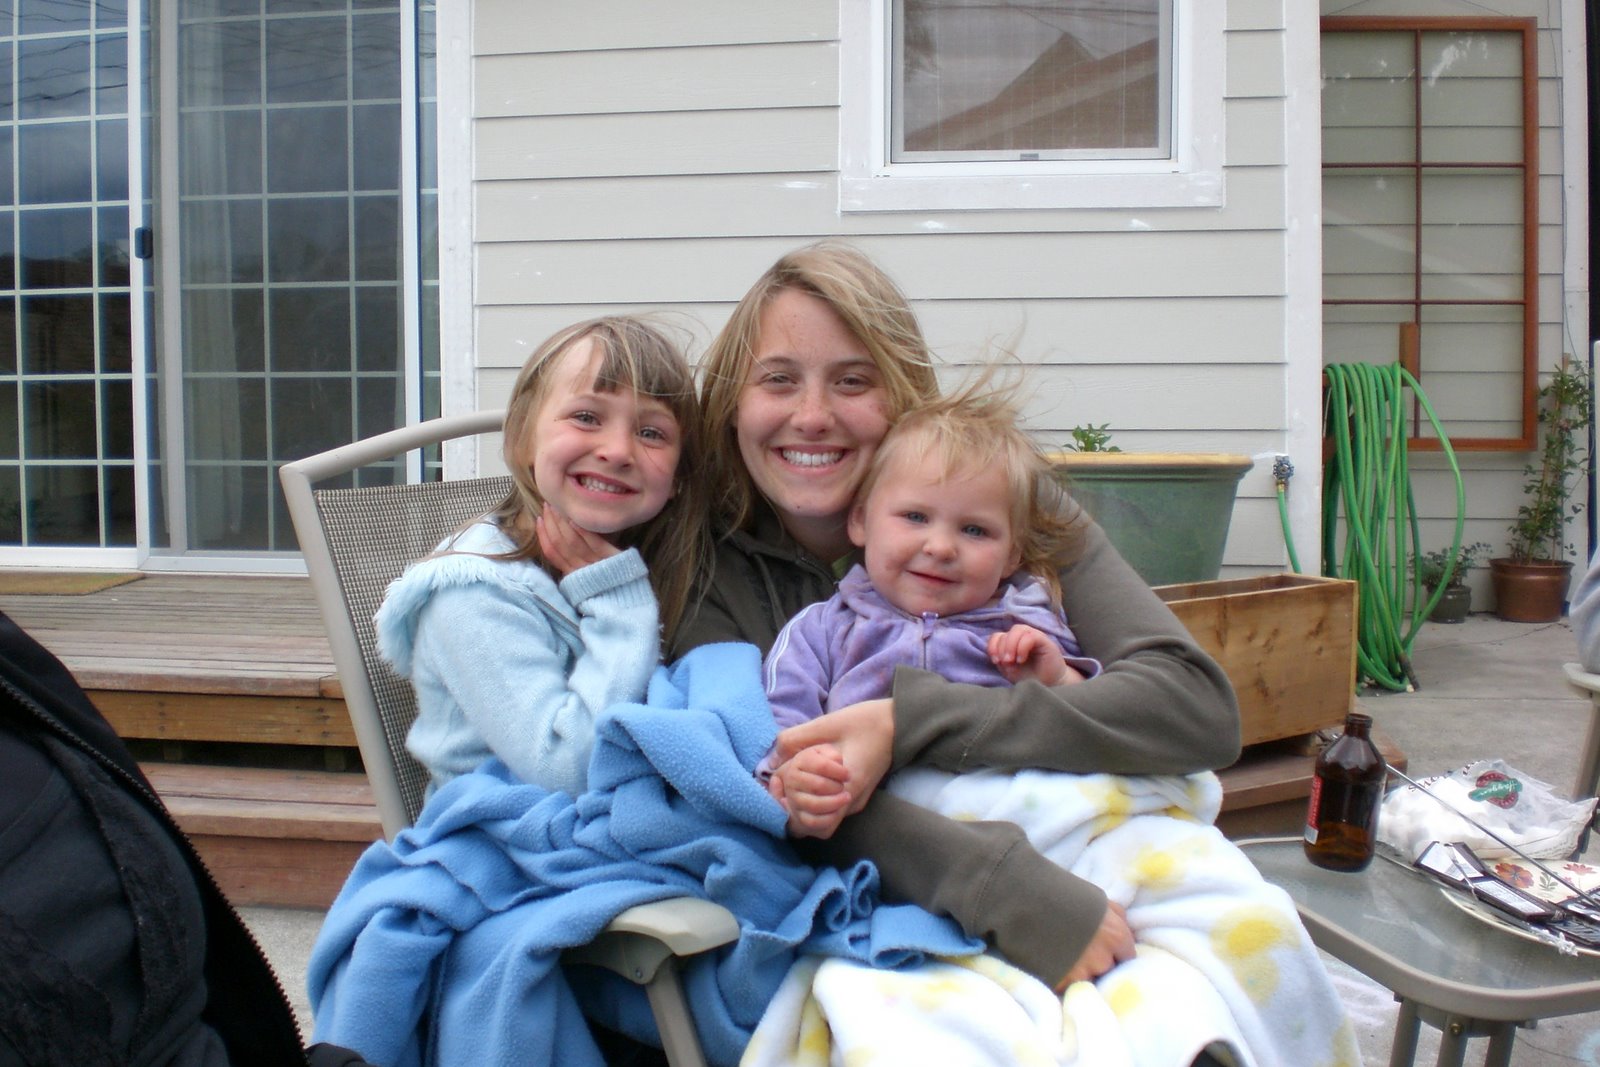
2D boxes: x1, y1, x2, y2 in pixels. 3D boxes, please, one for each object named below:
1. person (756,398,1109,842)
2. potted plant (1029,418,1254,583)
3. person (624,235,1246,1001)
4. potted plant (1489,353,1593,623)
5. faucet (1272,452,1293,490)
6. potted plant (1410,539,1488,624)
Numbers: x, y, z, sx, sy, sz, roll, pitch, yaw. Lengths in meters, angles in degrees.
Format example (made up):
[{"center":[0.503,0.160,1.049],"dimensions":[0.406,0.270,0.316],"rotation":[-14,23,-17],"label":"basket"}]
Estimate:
[{"center":[0.321,0.193,4.014],"dimensions":[1.006,1.491,0.922],"rotation":[-1,-2,-1],"label":"person"},{"center":[1.238,-0.099,5.299],"dimensions":[0.599,0.462,0.601],"rotation":[-3,1,-3],"label":"potted plant"},{"center":[0.395,0.230,3.737],"dimensions":[1.294,0.705,1.763],"rotation":[-11,27,4],"label":"person"},{"center":[3.790,-0.226,7.503],"dimensions":[0.525,1.303,0.367],"rotation":[-4,8,-17],"label":"potted plant"},{"center":[1.843,-0.234,5.620],"dimensions":[0.082,0.131,0.043],"rotation":[-3,8,-4],"label":"faucet"},{"center":[3.322,0.262,7.539],"dimensions":[0.277,0.361,0.580],"rotation":[2,9,28],"label":"potted plant"}]
